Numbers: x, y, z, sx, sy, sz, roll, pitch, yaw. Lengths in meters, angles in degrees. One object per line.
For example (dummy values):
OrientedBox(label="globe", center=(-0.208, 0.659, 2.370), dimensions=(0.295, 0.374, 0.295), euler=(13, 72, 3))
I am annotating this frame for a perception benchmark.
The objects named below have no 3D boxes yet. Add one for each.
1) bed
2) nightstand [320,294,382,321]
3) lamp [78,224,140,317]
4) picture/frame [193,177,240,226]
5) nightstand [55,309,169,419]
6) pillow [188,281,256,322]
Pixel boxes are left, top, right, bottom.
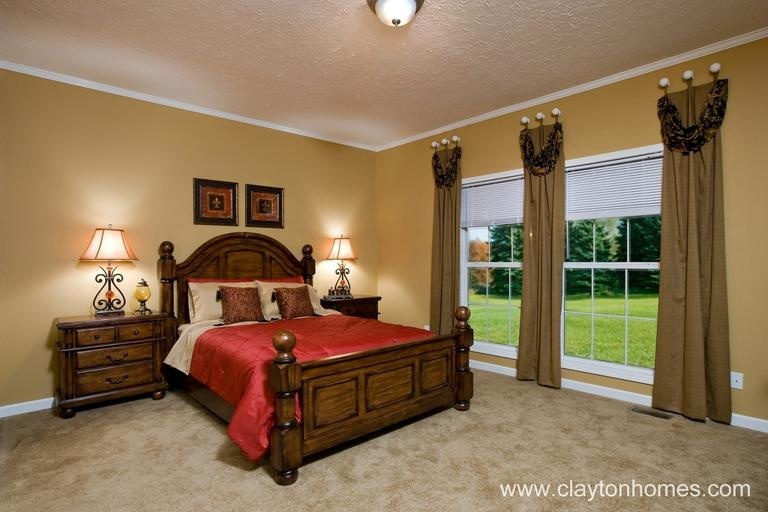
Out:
OrientedBox(label="bed", center=(-0.980, 0.821, 5.894), dimensions=(2.451, 2.022, 3.158), euler=(1, -4, -41))
OrientedBox(label="nightstand", center=(-0.513, 0.614, 7.231), dimensions=(0.605, 0.574, 0.397), euler=(-1, 1, -44))
OrientedBox(label="lamp", center=(-3.178, 0.163, 5.732), dimensions=(0.590, 1.119, 0.352), euler=(-2, 0, -33))
OrientedBox(label="picture/frame", center=(-2.238, -0.719, 6.511), dimensions=(0.672, 0.723, 0.053), euler=(2, -4, -41))
OrientedBox(label="nightstand", center=(-3.175, 1.228, 5.752), dimensions=(1.092, 1.021, 0.654), euler=(-2, 2, -44))
OrientedBox(label="pillow", center=(-2.000, 0.568, 6.208), dimensions=(0.873, 0.564, 0.268), euler=(-3, 4, -37))
